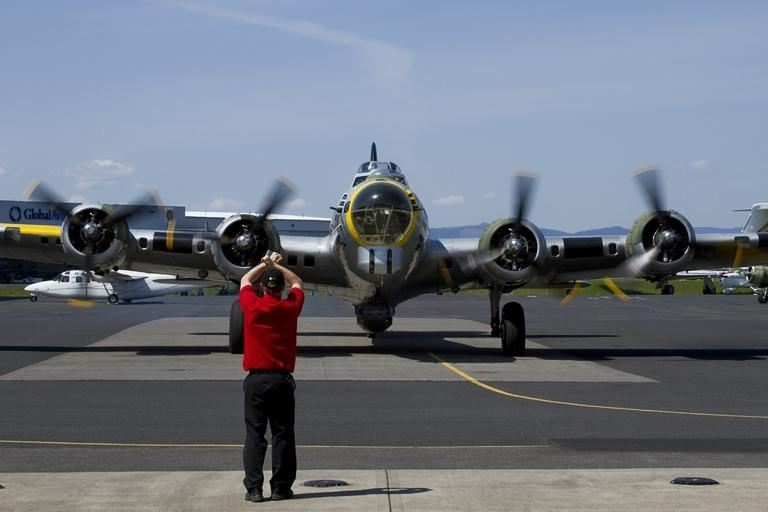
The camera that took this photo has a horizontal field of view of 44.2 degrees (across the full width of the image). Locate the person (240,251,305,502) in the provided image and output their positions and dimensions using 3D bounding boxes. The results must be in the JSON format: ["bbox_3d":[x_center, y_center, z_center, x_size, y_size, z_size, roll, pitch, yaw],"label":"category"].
[{"bbox_3d":[-1.578,1.733,13.359,0.907,3.221,1.260,-2,10,-1],"label":"person"}]
